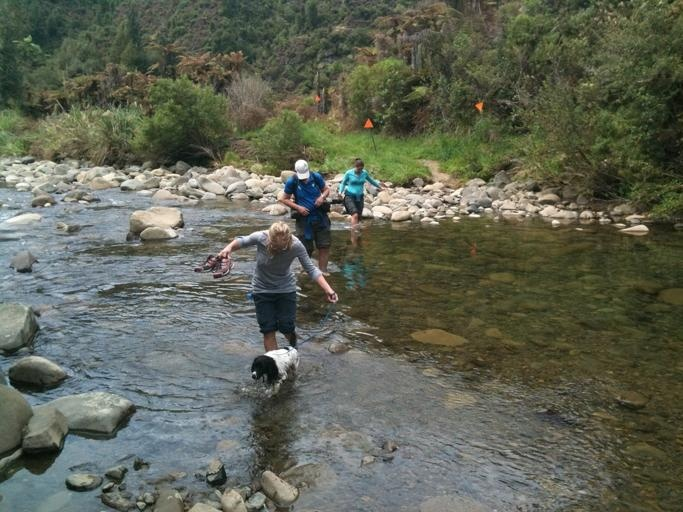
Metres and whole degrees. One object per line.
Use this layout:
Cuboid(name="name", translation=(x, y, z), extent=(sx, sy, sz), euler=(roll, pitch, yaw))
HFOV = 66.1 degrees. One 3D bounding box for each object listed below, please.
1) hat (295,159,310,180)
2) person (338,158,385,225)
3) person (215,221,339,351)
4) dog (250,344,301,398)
Cuboid(name="hat", translation=(-0.703, -1.531, 9.406), extent=(0.291, 0.376, 0.197), euler=(-12, -30, -6))
Cuboid(name="person", translation=(0.434, -1.609, 13.270), extent=(0.958, 1.721, 1.498), euler=(-2, 14, 4))
Cuboid(name="person", translation=(-0.830, 0.374, 6.693), extent=(1.295, 1.689, 0.517), euler=(-4, 16, -6))
Cuboid(name="dog", translation=(-0.817, 1.375, 6.458), extent=(0.297, 0.472, 0.763), euler=(8, 17, 35))
